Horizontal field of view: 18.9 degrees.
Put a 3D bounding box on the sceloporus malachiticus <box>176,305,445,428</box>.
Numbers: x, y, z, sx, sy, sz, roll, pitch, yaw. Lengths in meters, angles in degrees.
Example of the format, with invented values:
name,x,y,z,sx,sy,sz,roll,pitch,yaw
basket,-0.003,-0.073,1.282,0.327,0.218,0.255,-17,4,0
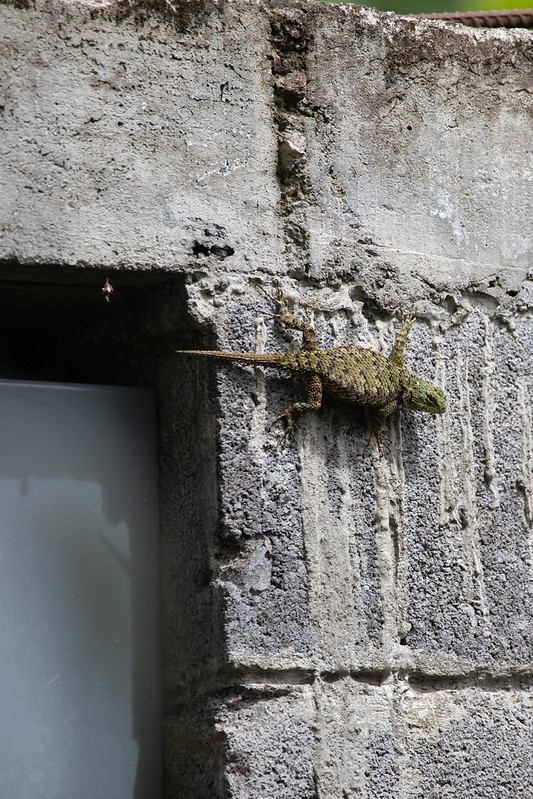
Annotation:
name,x,y,z,sx,sy,sz,roll,pitch,yaw
sceloporus malachiticus,0.126,-0.090,3.971,0.636,0.319,0.201,-2,0,-25
